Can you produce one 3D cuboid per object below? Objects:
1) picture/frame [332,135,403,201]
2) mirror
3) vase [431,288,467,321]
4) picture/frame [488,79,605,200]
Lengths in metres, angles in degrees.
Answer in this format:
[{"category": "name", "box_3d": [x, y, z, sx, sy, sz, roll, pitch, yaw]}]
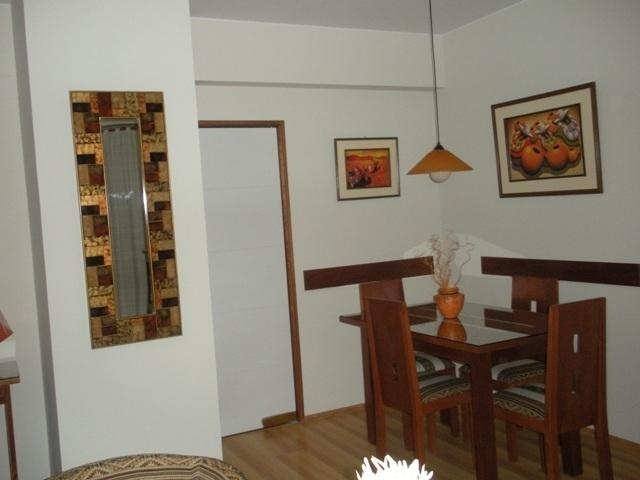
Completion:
[{"category": "picture/frame", "box_3d": [0.413, -0.693, 4.785, 0.550, 0.539, 0.040, -4, 4, -24]}, {"category": "mirror", "box_3d": [-1.124, -0.140, 2.967, 0.487, 1.450, 0.185, -5, 7, -12]}, {"category": "vase", "box_3d": [0.947, 0.461, 3.723, 0.212, 0.228, 0.218, -7, -1, 42]}, {"category": "picture/frame", "box_3d": [1.840, -0.819, 4.058, 0.038, 0.957, 0.991, -5, 4, -31]}]
